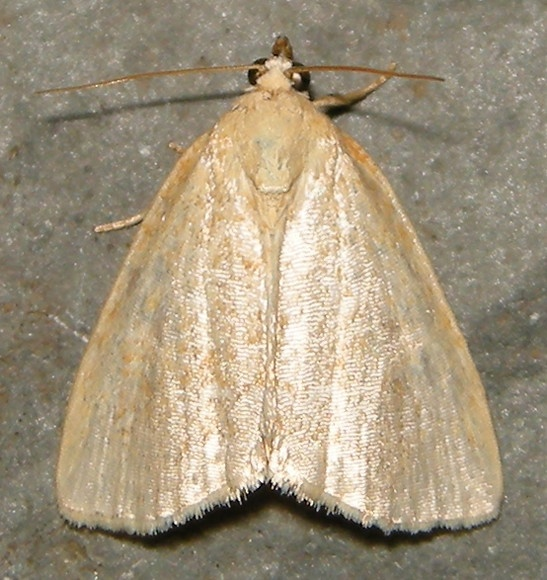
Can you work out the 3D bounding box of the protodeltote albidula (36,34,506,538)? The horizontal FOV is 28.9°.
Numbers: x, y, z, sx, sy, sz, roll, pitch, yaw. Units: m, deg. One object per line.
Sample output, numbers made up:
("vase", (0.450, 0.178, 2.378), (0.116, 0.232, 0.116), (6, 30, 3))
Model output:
("protodeltote albidula", (-0.031, 0.044, 2.849), (1.244, 1.249, 0.305), (0, 1, 6))
